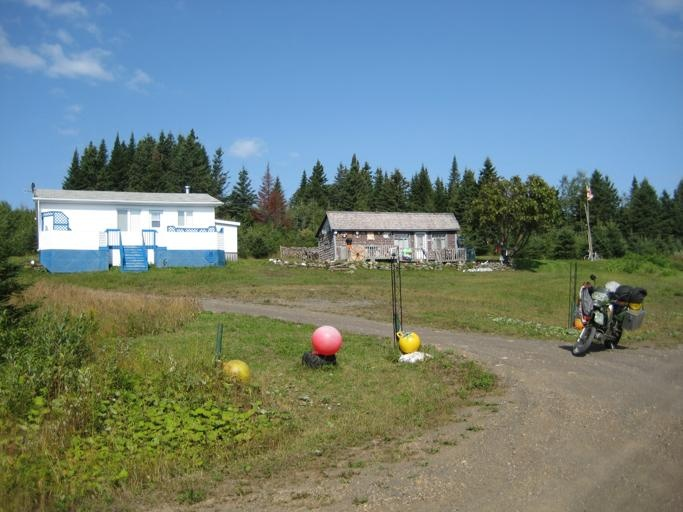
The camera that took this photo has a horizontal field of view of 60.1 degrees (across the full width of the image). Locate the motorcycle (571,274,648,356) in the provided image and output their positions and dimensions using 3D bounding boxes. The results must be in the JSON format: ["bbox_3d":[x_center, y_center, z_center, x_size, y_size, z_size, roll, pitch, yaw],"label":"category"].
[{"bbox_3d":[7.456,1.719,16.589,2.783,1.843,1.155,-3,17,-36],"label":"motorcycle"}]
